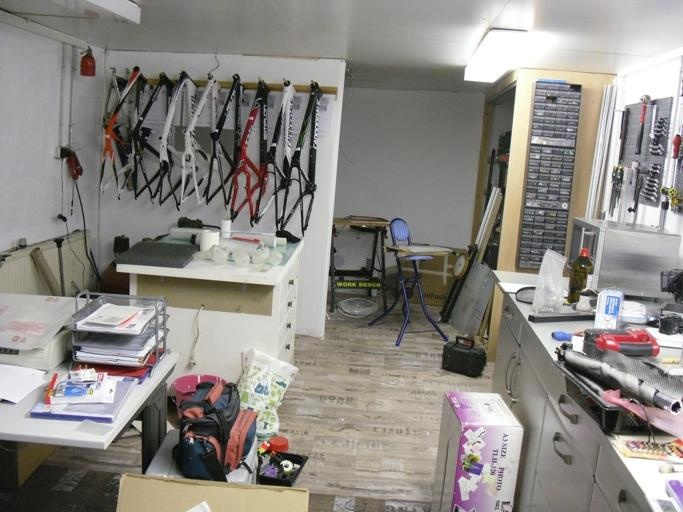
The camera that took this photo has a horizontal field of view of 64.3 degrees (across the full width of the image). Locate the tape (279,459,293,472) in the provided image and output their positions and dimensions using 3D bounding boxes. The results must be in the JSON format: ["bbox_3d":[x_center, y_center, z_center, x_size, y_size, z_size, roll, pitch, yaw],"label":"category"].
[{"bbox_3d":[-0.326,1.256,3.269,0.051,0.058,0.042,-1,16,5],"label":"tape"}]

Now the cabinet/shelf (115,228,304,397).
[{"bbox_3d":[-0.873,0.216,3.964,0.994,1.084,1.020,4,14,5],"label":"cabinet/shelf"}]

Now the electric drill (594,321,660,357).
[{"bbox_3d":[1.268,0.394,2.433,0.371,0.116,0.184,-3,13,-22],"label":"electric drill"}]

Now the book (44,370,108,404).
[{"bbox_3d":[-1.168,0.582,2.401,0.244,0.065,0.295,2,11,-19],"label":"book"}]

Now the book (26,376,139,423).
[{"bbox_3d":[-1.133,0.629,2.402,0.355,0.074,0.260,2,12,1],"label":"book"}]

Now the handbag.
[{"bbox_3d":[-0.644,0.905,2.840,0.325,0.382,0.600,5,10,3],"label":"handbag"}]

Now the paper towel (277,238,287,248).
[{"bbox_3d":[-0.470,-0.100,4.243,0.075,0.059,0.054,3,-9,2],"label":"paper towel"}]

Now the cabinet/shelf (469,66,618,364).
[{"bbox_3d":[1.607,-0.464,5.217,0.714,2.391,1.524,4,9,4],"label":"cabinet/shelf"}]

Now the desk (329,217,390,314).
[{"bbox_3d":[0.212,0.105,6.496,0.773,1.359,1.024,1,0,0],"label":"desk"}]

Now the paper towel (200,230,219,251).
[{"bbox_3d":[-0.932,-0.126,3.830,0.125,0.157,0.130,-3,18,-23],"label":"paper towel"}]

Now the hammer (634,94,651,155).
[{"bbox_3d":[2.185,-0.938,3.947,0.092,0.399,0.089,2,5,20],"label":"hammer"}]

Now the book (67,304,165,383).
[{"bbox_3d":[-1.091,0.362,2.751,0.374,0.375,0.433,5,10,1],"label":"book"}]
